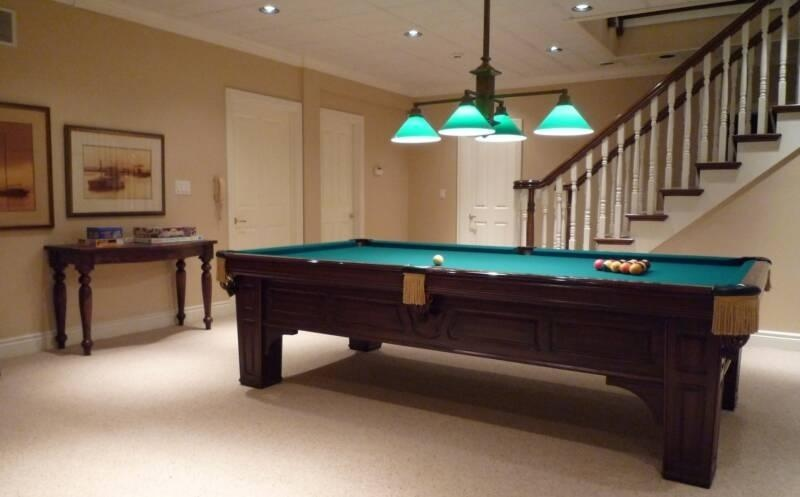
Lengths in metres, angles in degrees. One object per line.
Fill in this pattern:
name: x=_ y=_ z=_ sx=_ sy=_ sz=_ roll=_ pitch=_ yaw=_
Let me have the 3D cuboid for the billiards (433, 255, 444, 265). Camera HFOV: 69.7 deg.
billiards: x=0.315 y=0.095 z=4.643 sx=0.073 sy=0.064 sz=0.083 roll=0 pitch=5 yaw=4

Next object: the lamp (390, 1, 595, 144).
lamp: x=0.911 y=-1.113 z=5.050 sx=1.830 sy=1.402 sz=1.781 roll=1 pitch=6 yaw=22

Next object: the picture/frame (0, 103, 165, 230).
picture/frame: x=-3.275 y=-0.838 z=5.821 sx=0.057 sy=0.872 sz=1.495 roll=0 pitch=1 yaw=44

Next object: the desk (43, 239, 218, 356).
desk: x=-2.811 y=0.462 z=6.205 sx=0.855 sy=1.026 sz=1.601 roll=2 pitch=5 yaw=35
